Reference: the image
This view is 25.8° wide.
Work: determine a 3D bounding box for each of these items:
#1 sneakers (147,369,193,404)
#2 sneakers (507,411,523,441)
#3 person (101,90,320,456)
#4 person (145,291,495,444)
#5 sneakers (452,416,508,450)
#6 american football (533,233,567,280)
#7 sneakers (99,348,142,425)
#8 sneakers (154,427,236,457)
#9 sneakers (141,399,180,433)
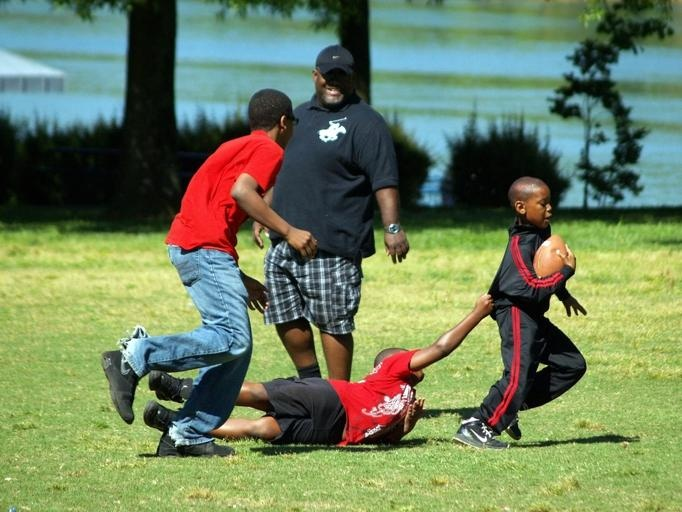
[{"bbox_3d":[-1.284,0.982,11.221,0.213,0.153,0.467,-11,-16,33],"label":"sneakers"},{"bbox_3d":[1.300,1.306,11.183,0.087,0.102,0.250,-1,-1,19],"label":"sneakers"},{"bbox_3d":[-0.952,0.122,10.922,1.542,2.665,0.534,-4,8,-24],"label":"person"},{"bbox_3d":[-0.582,0.911,11.135,3.379,1.253,0.989,-2,-11,-4],"label":"person"},{"bbox_3d":[1.024,1.330,11.186,0.465,0.209,0.175,11,-2,1],"label":"sneakers"},{"bbox_3d":[1.542,0.008,11.178,0.219,0.326,0.199,31,-9,3],"label":"american football"},{"bbox_3d":[-1.566,0.927,10.906,0.280,0.576,0.201,-15,-4,4],"label":"sneakers"},{"bbox_3d":[-1.080,1.374,11.032,0.621,0.238,0.203,1,0,-4],"label":"sneakers"},{"bbox_3d":[-1.346,1.176,10.977,0.293,0.177,0.119,30,-7,-20],"label":"sneakers"}]
